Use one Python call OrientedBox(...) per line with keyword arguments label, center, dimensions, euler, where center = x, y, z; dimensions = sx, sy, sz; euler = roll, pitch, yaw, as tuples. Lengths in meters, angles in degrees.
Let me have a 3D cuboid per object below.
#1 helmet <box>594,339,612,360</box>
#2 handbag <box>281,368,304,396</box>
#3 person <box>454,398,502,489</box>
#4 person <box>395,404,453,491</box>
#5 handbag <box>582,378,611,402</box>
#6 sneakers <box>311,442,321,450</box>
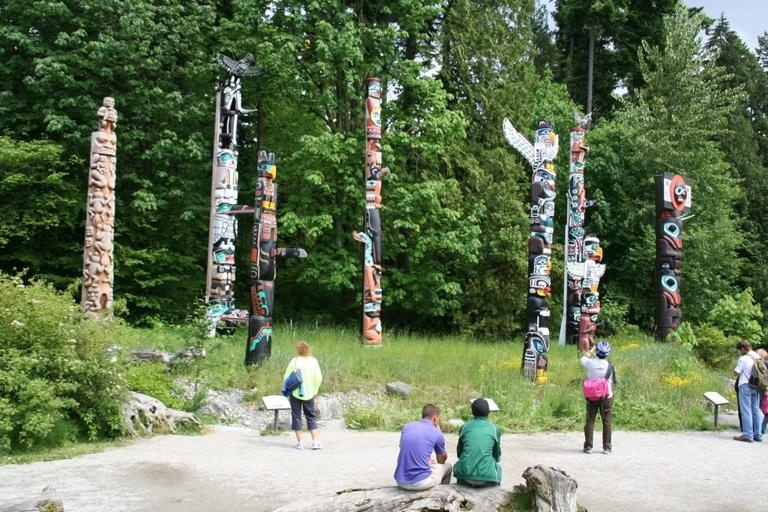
OrientedBox(label="helmet", center=(6.514, 2.809, 28.477), dimensions=(0.457, 0.562, 0.540), euler=(1, 7, 6))
OrientedBox(label="handbag", center=(-2.692, 3.706, 27.952), dimensions=(0.597, 0.763, 0.338), euler=(-7, -12, 41))
OrientedBox(label="person", center=(2.445, 4.922, 25.093), dimensions=(1.197, 2.283, 0.487), euler=(1, -9, 2))
OrientedBox(label="person", center=(1.074, 4.986, 24.865), dimensions=(1.407, 2.204, 0.585), euler=(6, -10, -30))
OrientedBox(label="handbag", center=(6.301, 3.958, 28.179), dimensions=(0.708, 0.636, 0.361), euler=(-1, -6, -7))
OrientedBox(label="sneakers", center=(-1.960, 5.542, 27.902), dimensions=(0.305, 0.239, 0.253), euler=(0, -9, 6))
